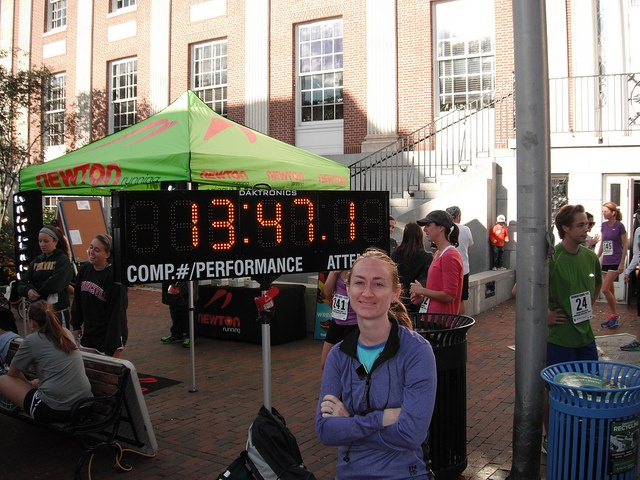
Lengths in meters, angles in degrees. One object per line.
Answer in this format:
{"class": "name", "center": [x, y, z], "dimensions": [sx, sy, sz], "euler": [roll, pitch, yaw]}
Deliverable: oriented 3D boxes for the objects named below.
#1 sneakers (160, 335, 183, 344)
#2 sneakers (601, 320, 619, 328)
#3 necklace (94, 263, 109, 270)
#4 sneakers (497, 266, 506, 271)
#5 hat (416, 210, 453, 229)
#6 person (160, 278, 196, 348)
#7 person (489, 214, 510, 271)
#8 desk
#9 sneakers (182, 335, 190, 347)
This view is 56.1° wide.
{"class": "sneakers", "center": [-2.719, 1.814, 11.036], "dimensions": [0.402, 0.190, 0.153], "euler": [6, -2, -18]}
{"class": "sneakers", "center": [5.501, 1.557, 11.362], "dimensions": [0.390, 0.170, 0.144], "euler": [-2, -3, -23]}
{"class": "necklace", "center": [-2.724, 0.339, 7.460], "dimensions": [0.102, 0.086, 0.109], "euler": [4, -3, 6]}
{"class": "sneakers", "center": [4.562, 0.710, 15.072], "dimensions": [0.126, 0.085, 0.215], "euler": [1, -5, -16]}
{"class": "hat", "center": [1.382, -0.252, 7.128], "dimensions": [0.299, 0.173, 0.215], "euler": [7, -3, 12]}
{"class": "person", "center": [-2.538, 1.078, 10.885], "dimensions": [0.650, 1.545, 0.438], "euler": [1, -1, 17]}
{"class": "person", "center": [4.513, 0.045, 15.152], "dimensions": [0.485, 1.308, 0.318], "euler": [-2, 2, 1]}
{"class": "desk", "center": [-1.355, 1.331, 10.982], "dimensions": [2.007, 1.047, 0.839], "euler": [-2, 2, 20]}
{"class": "sneakers", "center": [-2.374, 1.783, 10.608], "dimensions": [0.136, 0.172, 0.351], "euler": [2, -9, -13]}
